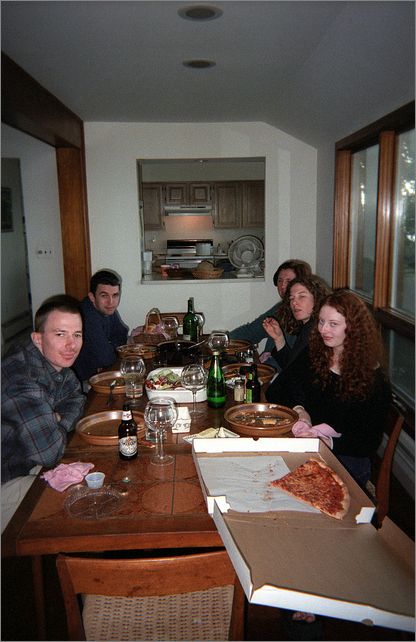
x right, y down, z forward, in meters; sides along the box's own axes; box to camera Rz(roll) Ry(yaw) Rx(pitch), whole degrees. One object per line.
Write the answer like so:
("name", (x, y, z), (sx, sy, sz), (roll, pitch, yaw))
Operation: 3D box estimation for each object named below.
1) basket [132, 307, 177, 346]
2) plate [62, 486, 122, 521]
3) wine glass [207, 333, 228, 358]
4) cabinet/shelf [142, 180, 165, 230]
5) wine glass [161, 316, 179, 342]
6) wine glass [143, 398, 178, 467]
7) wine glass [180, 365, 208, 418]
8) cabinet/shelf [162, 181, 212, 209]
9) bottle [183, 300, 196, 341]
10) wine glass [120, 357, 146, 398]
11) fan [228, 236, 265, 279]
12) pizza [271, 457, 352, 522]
("basket", (-0.351, 0.038, 2.764), (0.334, 0.339, 0.210), (0, 4, 5))
("plate", (-0.284, 0.459, 1.083), (0.145, 0.011, 0.164), (-4, 8, -5))
("wine glass", (0.055, 0.120, 2.207), (0.092, 0.100, 0.103), (1, 3, -1))
("cabinet/shelf", (-0.882, -1.898, 7.134), (0.347, 0.720, 0.257), (-5, 9, -15))
("wine glass", (-0.231, 0.051, 2.661), (0.121, 0.198, 0.124), (2, 6, -6))
("wine glass", (-0.147, 0.352, 1.363), (0.104, 0.192, 0.106), (1, 8, 24))
("wine glass", (-0.053, 0.274, 1.686), (0.101, 0.209, 0.102), (6, 15, 31))
("cabinet/shelf", (-0.307, -2.075, 7.228), (0.688, 0.361, 0.378), (1, 12, 0))
("bottle", (-0.113, -0.010, 2.780), (0.099, 0.256, 0.352), (-3, 8, -3))
("wine glass", (-0.311, 0.231, 1.815), (0.100, 0.163, 0.103), (6, 18, 17))
("fan", (0.403, -0.653, 4.485), (0.344, 0.452, 0.212), (3, -6, 18))
("pizza", (0.291, 0.414, 1.076), (0.220, 0.020, 0.202), (-11, 12, -44))
